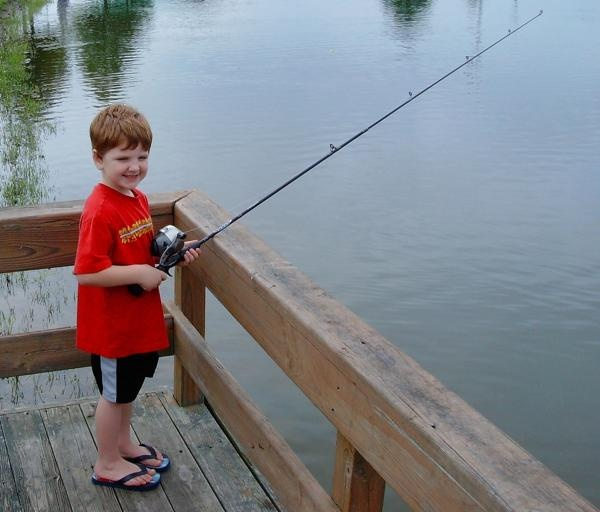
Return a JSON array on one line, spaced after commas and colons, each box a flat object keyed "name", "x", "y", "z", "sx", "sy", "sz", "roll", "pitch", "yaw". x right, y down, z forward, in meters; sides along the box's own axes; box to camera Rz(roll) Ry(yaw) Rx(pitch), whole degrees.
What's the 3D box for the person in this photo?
[{"name": "person", "x": -0.473, "y": 0.146, "z": 1.499, "sx": 0.295, "sy": 1.076, "sz": 0.349, "roll": 19, "pitch": 29, "yaw": 40}]
